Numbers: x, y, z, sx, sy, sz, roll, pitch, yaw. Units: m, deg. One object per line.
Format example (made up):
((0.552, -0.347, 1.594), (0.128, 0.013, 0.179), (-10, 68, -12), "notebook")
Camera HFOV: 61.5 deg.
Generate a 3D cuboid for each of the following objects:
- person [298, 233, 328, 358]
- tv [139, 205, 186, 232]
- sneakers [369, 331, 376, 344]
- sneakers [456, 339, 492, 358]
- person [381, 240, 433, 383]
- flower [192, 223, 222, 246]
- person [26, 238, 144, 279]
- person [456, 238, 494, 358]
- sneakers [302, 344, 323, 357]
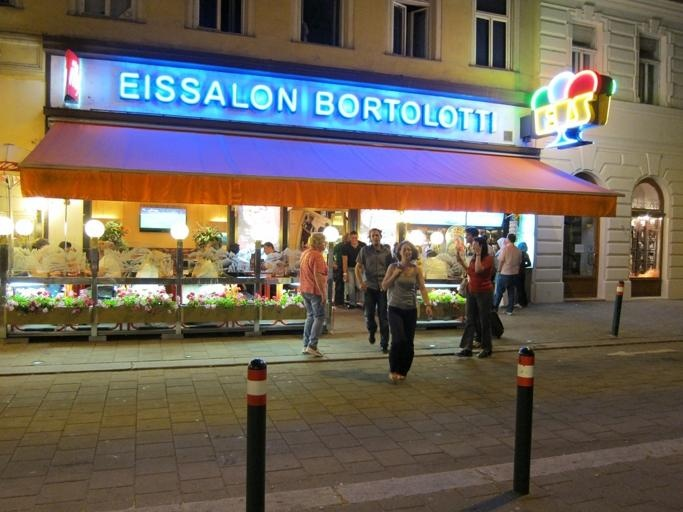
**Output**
((-0.478, 0.627, 9.824), (0.457, 2.050, 0.566), (-2, 2, -5), "person")
((-5.023, -1.049, 15.868), (0.896, 0.558, 0.096), (-2, 3, -30), "tv")
((0.572, 1.521, 10.748), (0.106, 0.234, 0.273), (-2, 3, 1), "sneakers")
((2.294, 1.634, 10.026), (0.636, 0.280, 0.220), (2, -5, 2), "sneakers")
((0.913, 0.791, 8.573), (0.551, 1.993, 0.497), (-2, 2, -7), "person")
((-2.752, -0.417, 12.145), (0.724, 0.507, 0.725), (5, -4, -45), "flower")
((-4.912, 0.062, 10.872), (2.019, 0.633, 1.382), (-3, 3, -13), "person")
((2.371, 0.701, 10.095), (0.570, 2.090, 0.355), (-1, 2, 13), "person")
((-0.495, 1.596, 9.695), (0.343, 0.152, 0.127), (20, -9, 2), "sneakers")
